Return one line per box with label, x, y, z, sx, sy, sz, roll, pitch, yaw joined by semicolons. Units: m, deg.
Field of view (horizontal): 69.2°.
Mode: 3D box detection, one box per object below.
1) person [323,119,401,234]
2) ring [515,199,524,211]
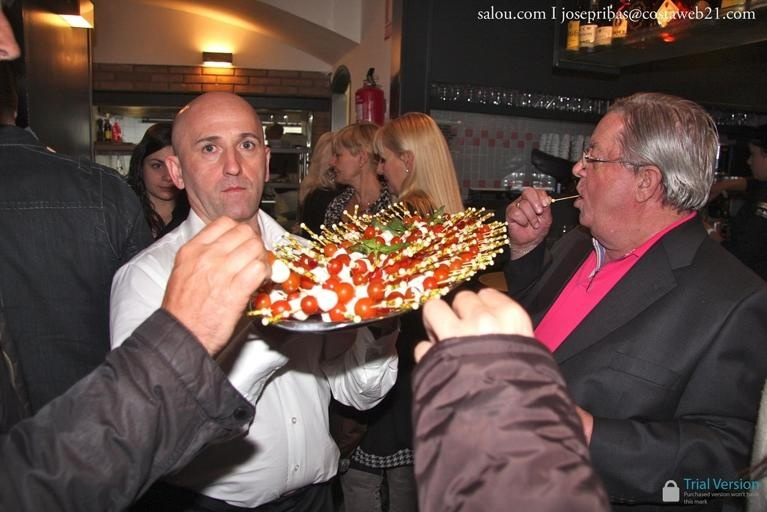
person;-0.146;-0.531;3.864;0.455;0.732;0.561;7;17;9
ring;0.632;-0.230;2.598;0.045;0.053;0.017;10;48;-24
